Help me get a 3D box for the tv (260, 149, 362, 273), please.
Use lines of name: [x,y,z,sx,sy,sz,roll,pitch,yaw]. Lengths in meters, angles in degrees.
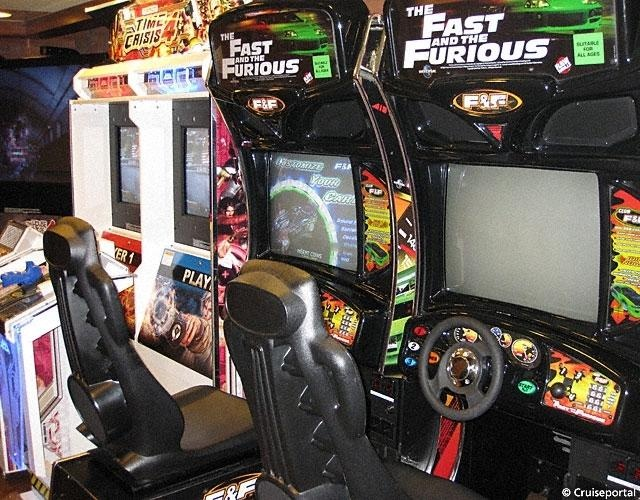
tv: [-0.023,-0.197,2.122,0.573,0.497,0.076,10,13,41]
